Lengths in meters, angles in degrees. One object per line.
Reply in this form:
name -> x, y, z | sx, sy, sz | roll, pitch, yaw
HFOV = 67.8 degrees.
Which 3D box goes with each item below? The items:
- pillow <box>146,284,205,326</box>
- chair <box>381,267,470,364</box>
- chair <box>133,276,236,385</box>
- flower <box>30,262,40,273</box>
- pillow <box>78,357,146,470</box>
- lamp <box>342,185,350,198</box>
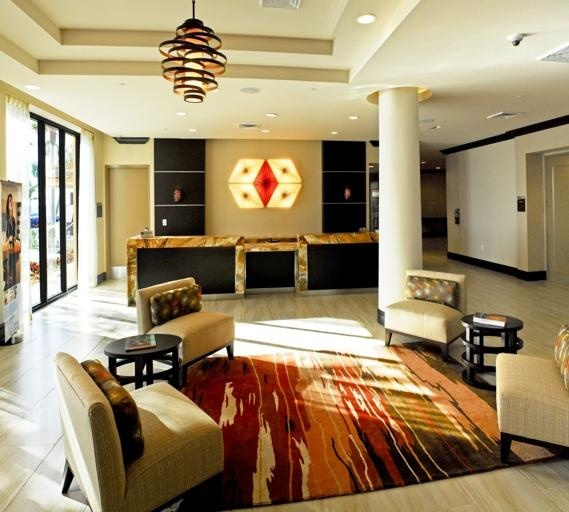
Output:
pillow -> -1.099, 0.499, 4.536 | 0.701, 0.326, 0.122 | -16, -17, 24
chair -> 1.631, 0.594, 4.900 | 0.760, 0.748, 0.738 | 6, 13, 37
chair -> -1.004, 0.724, 4.421 | 0.633, 0.801, 0.857 | 5, 9, 29
flower -> -4.046, 0.187, 6.849 | 0.155, 0.167, 0.187 | -2, -6, 37
pillow -> -0.904, 0.828, 2.216 | 0.110, 0.148, 0.540 | 11, 5, -34
lamp -> 1.420, -1.455, 9.658 | 0.173, 0.303, 0.051 | 0, 6, 11
